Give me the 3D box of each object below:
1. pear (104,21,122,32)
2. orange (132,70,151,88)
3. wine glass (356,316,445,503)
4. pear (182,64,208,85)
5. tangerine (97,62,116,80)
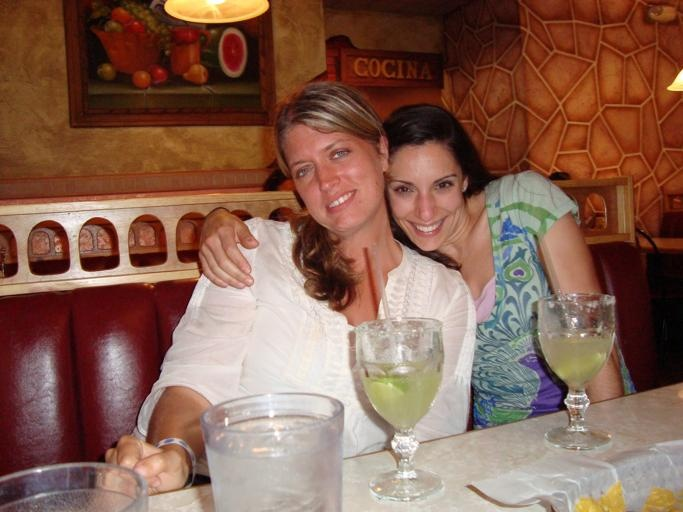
[{"bbox_3d":[-2.155,-2.159,4.945,0.119,0.091,0.094,0,11,-40],"label":"pear"},{"bbox_3d":[-1.959,-1.723,5.107,0.116,0.117,0.139,-49,20,-23],"label":"orange"},{"bbox_3d":[0.097,0.234,0.866,0.164,0.258,0.177,-1,-6,-26],"label":"wine glass"},{"bbox_3d":[-1.443,-1.789,5.238,0.227,0.175,0.163,-1,2,8],"label":"pear"},{"bbox_3d":[-2.236,-1.742,4.989,0.126,0.126,0.161,26,18,0],"label":"tangerine"}]
